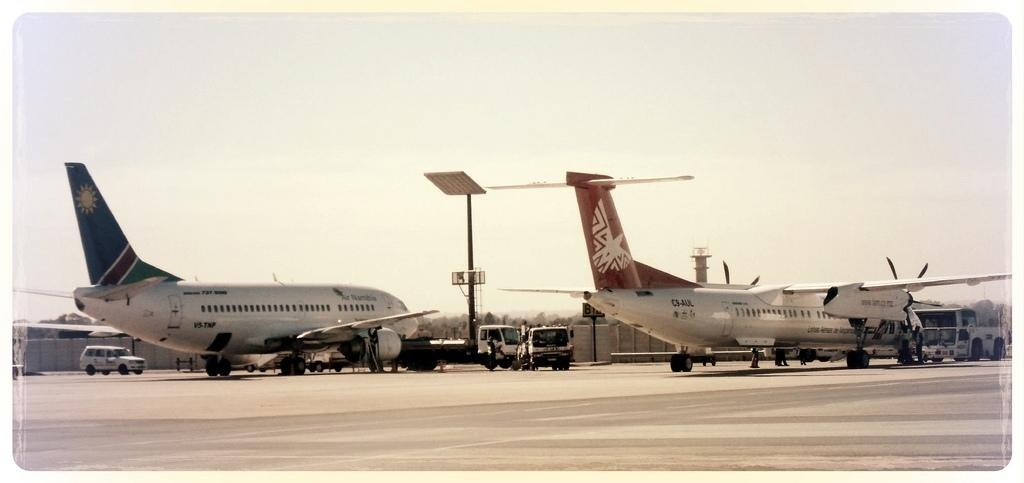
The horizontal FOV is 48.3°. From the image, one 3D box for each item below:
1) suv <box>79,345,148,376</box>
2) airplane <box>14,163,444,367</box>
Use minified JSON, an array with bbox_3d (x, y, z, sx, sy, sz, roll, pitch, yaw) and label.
[{"bbox_3d":[-25.106,7.522,71.750,4.402,1.353,2.023,-1,-2,6],"label":"suv"},{"bbox_3d":[-14.351,1.450,58.575,14.554,10.814,4.063,-5,6,-43],"label":"airplane"}]
